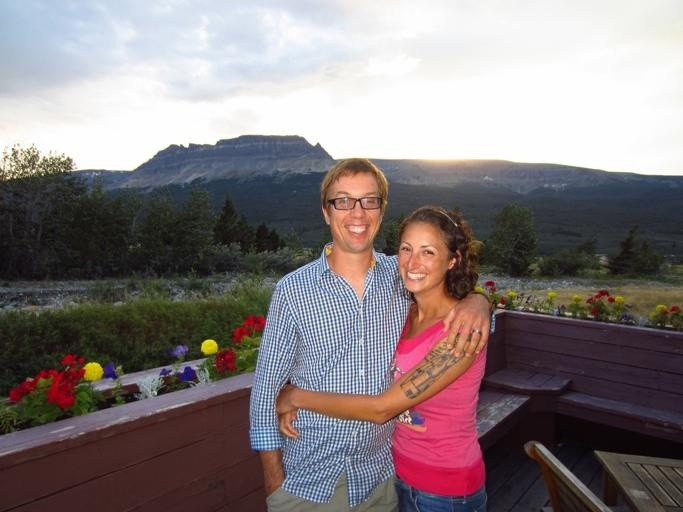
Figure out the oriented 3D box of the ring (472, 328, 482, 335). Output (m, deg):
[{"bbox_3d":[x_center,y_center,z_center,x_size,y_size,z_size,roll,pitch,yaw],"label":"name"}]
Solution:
[{"bbox_3d":[0.758,0.420,2.211,0.049,0.036,0.009,-5,-4,-7],"label":"ring"}]
